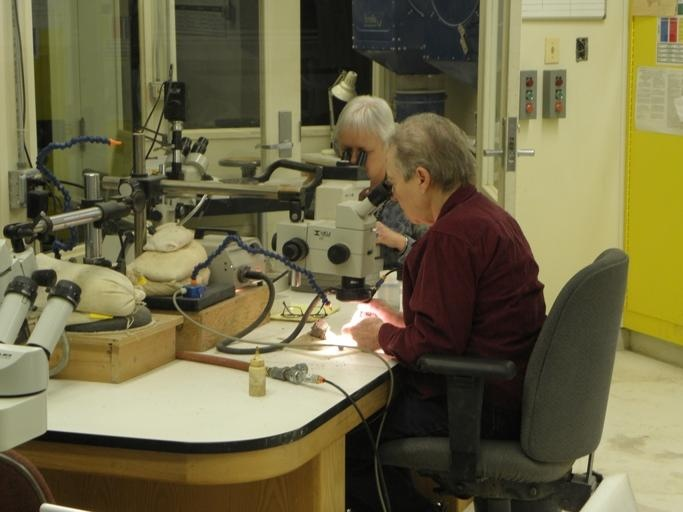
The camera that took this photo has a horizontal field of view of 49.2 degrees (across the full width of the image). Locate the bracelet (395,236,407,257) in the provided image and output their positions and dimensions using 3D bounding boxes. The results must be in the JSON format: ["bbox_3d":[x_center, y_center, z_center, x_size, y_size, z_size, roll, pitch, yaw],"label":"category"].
[{"bbox_3d":[0.181,-0.031,2.690,0.023,0.063,0.041,32,-22,-26],"label":"bracelet"}]

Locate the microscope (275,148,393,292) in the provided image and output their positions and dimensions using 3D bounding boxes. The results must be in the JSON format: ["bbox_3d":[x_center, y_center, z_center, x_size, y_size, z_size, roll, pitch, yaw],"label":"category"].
[{"bbox_3d":[-0.052,-0.098,2.328,0.235,0.433,0.245,6,15,23],"label":"microscope"}]

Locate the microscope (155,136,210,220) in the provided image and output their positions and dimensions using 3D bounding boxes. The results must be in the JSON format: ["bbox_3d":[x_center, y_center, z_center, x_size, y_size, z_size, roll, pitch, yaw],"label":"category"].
[{"bbox_3d":[-0.600,-0.272,2.911,0.198,0.442,0.116,-12,-28,6],"label":"microscope"}]
